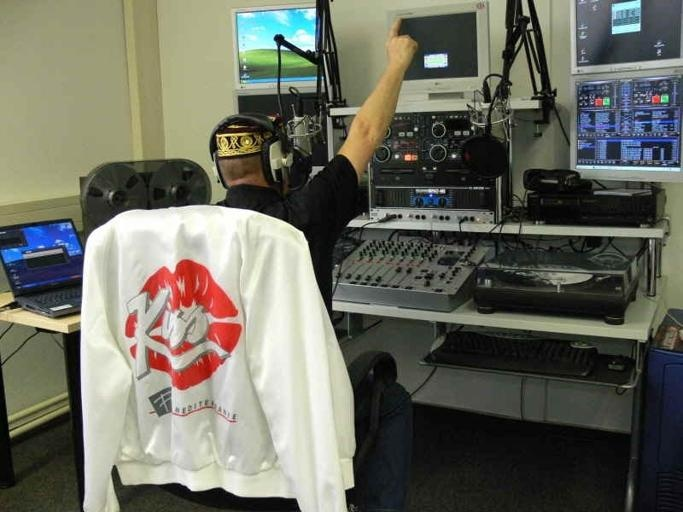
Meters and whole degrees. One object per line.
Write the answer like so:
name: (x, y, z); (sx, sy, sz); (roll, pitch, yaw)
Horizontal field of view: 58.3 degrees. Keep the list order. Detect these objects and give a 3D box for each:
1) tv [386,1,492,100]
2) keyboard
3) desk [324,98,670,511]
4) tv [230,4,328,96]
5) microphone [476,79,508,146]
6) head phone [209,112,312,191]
tv: (0.535, -0.941, 3.064); (0.658, 0.581, 0.395); (1, 14, 16)
keyboard: (0.725, 0.424, 2.629); (0.702, 0.062, 0.254); (3, 16, 20)
desk: (0.724, 0.216, 3.370); (1.937, 1.881, 1.551); (3, 11, 22)
tv: (-0.317, -1.106, 3.304); (0.668, 0.519, 0.025); (4, 16, 14)
microphone: (0.651, -0.626, 2.646); (0.172, 0.288, 0.101); (3, 5, 40)
head phone: (-0.278, -0.336, 2.135); (0.341, 0.277, 0.323); (8, -12, -16)
